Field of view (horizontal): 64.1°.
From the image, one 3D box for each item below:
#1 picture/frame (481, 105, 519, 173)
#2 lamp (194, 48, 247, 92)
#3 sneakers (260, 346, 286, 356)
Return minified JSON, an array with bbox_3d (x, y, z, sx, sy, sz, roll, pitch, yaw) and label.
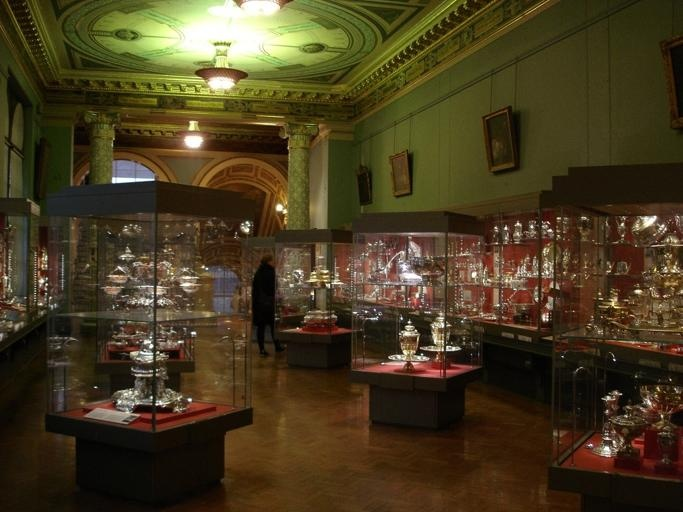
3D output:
[{"bbox_3d":[2.601,-1.857,8.863,0.240,0.988,0.689,1,-1,-21],"label":"picture/frame"},{"bbox_3d":[-2.384,-3.770,10.819,1.084,0.775,1.021,0,10,-9],"label":"lamp"},{"bbox_3d":[-1.505,2.090,11.992,0.598,0.227,0.175,-6,6,-26],"label":"sneakers"}]
